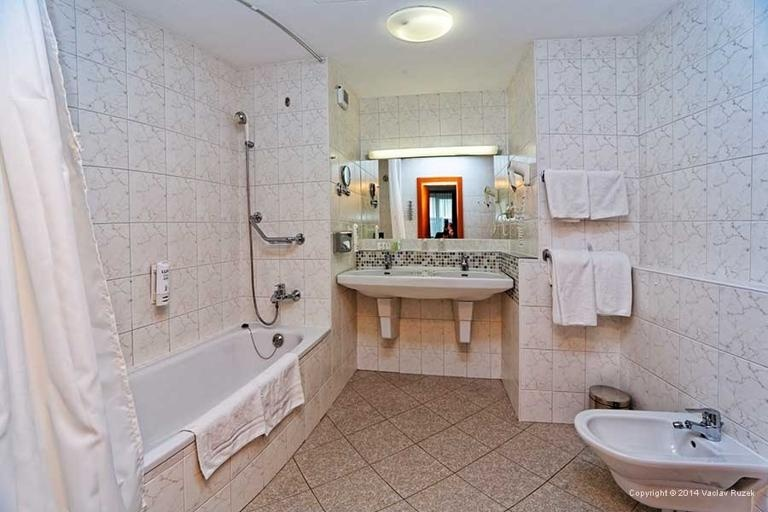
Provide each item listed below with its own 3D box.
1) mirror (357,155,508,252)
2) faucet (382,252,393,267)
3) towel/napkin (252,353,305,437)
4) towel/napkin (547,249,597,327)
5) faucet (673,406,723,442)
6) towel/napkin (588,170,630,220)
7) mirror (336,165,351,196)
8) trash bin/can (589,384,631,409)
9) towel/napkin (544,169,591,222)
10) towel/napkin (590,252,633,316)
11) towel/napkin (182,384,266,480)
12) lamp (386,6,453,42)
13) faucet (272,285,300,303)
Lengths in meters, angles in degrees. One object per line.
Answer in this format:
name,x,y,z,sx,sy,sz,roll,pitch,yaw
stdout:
mirror,0.473,-0.449,4.463,0.819,0.722,0.084,0,-1,9
faucet,0.033,0.034,4.419,0.103,0.198,0.111,1,-1,8
towel/napkin,-0.654,0.897,3.244,0.121,0.322,0.513,-3,10,19
towel/napkin,1.310,0.115,3.531,0.313,0.451,0.143,-3,39,2
faucet,1.789,0.958,2.936,0.238,0.186,0.090,-4,1,8
towel/napkin,1.511,-0.409,3.423,0.296,0.311,0.112,0,-4,3
mirror,-0.328,-0.602,4.083,0.043,0.264,0.270,-2,-1,16
trash bin/can,1.554,0.972,3.510,0.268,0.118,0.200,-2,9,7
towel/napkin,1.260,-0.416,3.566,0.301,0.319,0.112,0,-4,5
towel/napkin,1.544,0.184,3.489,0.278,0.415,0.193,0,10,19
towel/napkin,-0.921,1.037,2.973,0.137,0.292,0.520,4,19,30
lamp,0.249,-1.576,3.499,0.456,0.159,0.256,-3,9,3
faucet,-0.764,0.294,3.946,0.234,0.157,0.128,-2,9,7
